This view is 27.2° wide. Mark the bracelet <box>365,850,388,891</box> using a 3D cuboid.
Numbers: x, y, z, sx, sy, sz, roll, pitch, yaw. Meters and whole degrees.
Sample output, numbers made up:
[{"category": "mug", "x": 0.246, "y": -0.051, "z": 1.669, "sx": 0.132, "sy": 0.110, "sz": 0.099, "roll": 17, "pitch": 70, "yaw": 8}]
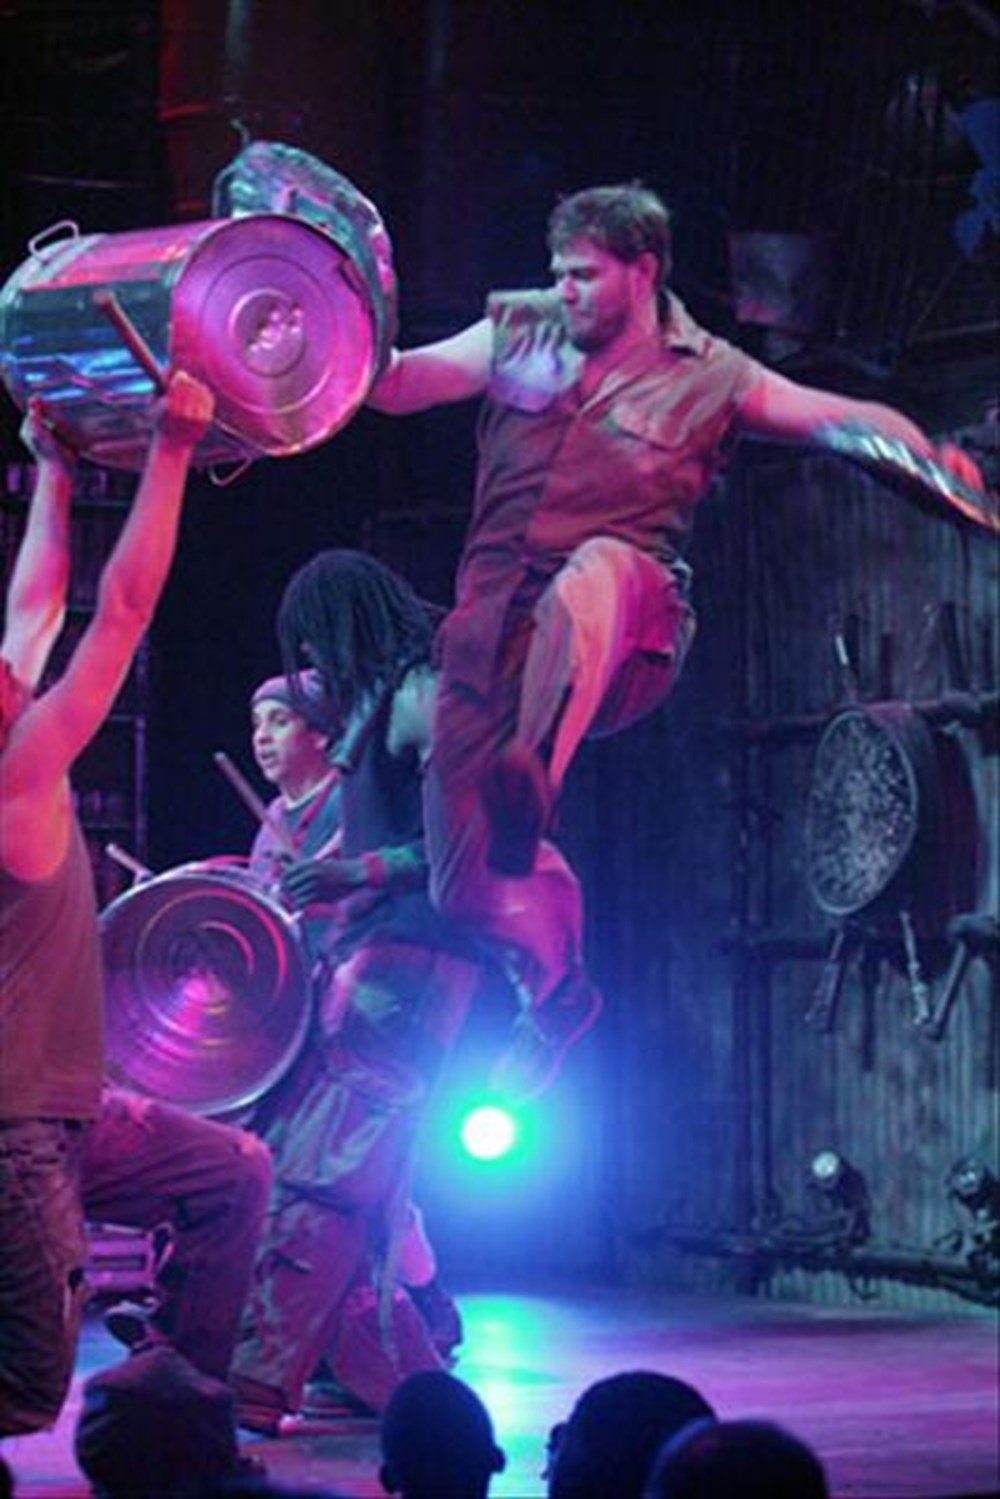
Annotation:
[{"category": "bracelet", "x": -0.212, "y": 0.211, "z": 3.690, "sx": 0.051, "sy": 0.050, "sz": 0.048, "roll": 1, "pitch": -40, "yaw": 0}]
